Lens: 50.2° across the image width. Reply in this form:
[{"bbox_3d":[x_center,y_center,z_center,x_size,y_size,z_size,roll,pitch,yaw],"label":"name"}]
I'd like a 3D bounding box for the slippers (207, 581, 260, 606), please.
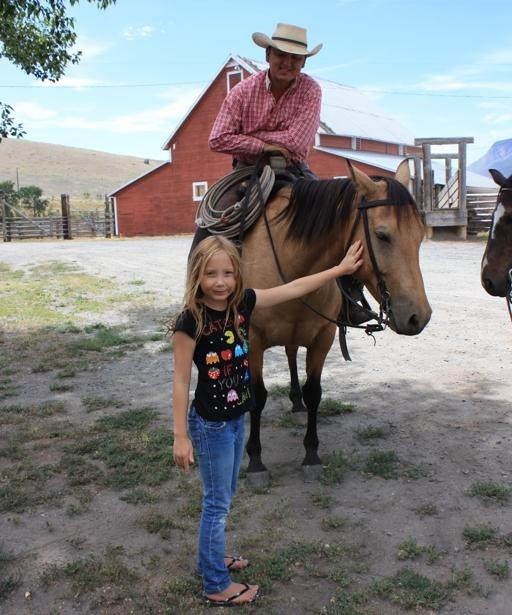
[{"bbox_3d":[-0.106,1.337,2.564,0.196,0.046,0.091,-2,13,-8],"label":"slippers"}]

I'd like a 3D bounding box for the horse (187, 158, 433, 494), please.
[{"bbox_3d":[0.333,0.199,4.229,0.919,1.989,3.093,6,3,-12],"label":"horse"}]

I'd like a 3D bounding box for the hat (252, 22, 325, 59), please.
[{"bbox_3d":[0.192,-1.808,3.713,0.455,0.246,0.283,0,12,4],"label":"hat"}]

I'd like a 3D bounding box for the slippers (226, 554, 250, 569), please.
[{"bbox_3d":[-0.104,1.297,2.792,0.136,0.031,0.046,0,21,-6],"label":"slippers"}]

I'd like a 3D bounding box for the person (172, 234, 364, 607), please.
[{"bbox_3d":[-0.083,0.499,2.675,0.516,1.682,0.738,2,14,13],"label":"person"}]
